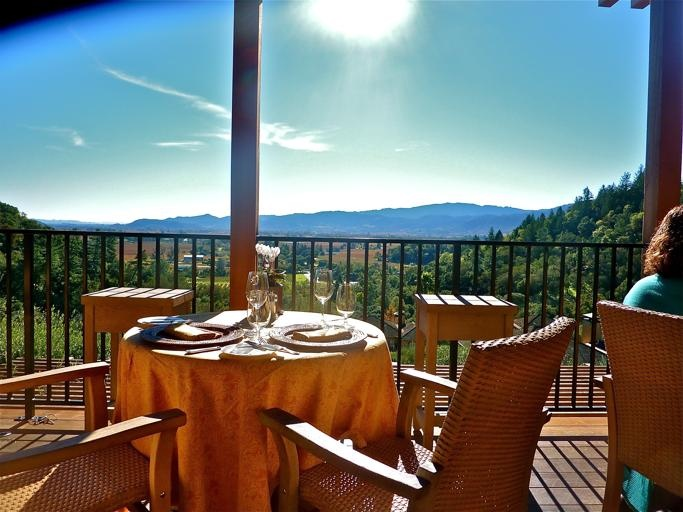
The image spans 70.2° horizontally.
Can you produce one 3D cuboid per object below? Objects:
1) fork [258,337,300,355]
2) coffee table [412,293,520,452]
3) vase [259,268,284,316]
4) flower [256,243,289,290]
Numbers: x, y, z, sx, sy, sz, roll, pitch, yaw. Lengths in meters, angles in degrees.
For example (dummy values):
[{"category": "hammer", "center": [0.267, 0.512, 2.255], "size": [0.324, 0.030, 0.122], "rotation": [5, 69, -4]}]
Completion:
[{"category": "fork", "center": [-0.297, 0.391, 2.112], "size": [0.067, 0.015, 0.259], "rotation": [-22, 12, -31]}, {"category": "coffee table", "center": [0.805, 0.736, 3.260], "size": [0.702, 0.926, 0.699], "rotation": [-1, 7, -35]}, {"category": "vase", "center": [-0.372, 0.190, 2.707], "size": [0.122, 0.245, 0.125], "rotation": [-3, 8, 6]}, {"category": "flower", "center": [-0.415, 0.051, 2.814], "size": [0.141, 0.221, 0.144], "rotation": [0, 4, -5]}]
